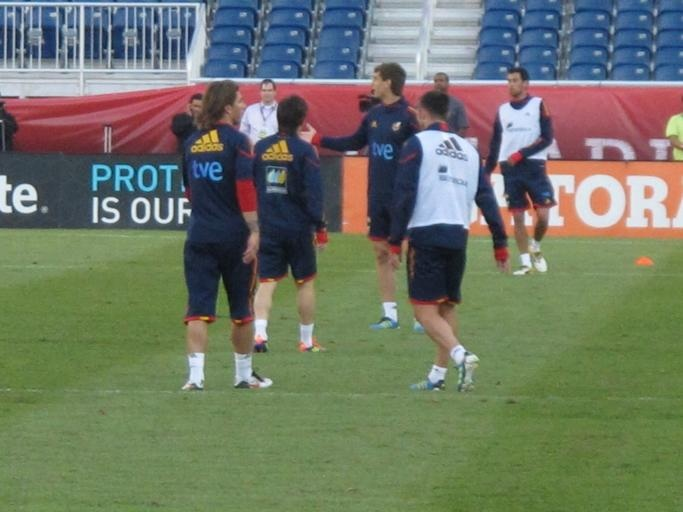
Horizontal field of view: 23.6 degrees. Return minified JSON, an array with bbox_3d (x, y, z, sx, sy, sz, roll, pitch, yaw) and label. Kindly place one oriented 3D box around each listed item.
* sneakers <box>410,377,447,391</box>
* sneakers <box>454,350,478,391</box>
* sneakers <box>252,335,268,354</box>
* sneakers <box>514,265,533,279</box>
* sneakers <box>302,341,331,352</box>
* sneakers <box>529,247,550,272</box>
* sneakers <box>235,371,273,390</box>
[{"bbox_3d":[0.896,1.318,17.021,0.367,0.144,0.130,2,-1,7],"label":"sneakers"},{"bbox_3d":[1.292,1.180,16.849,0.178,0.441,0.213,-6,27,-38],"label":"sneakers"},{"bbox_3d":[-0.891,0.953,18.062,0.125,0.184,0.069,0,4,-8],"label":"sneakers"},{"bbox_3d":[2.387,0.182,21.661,0.235,0.100,0.142,1,4,27],"label":"sneakers"},{"bbox_3d":[-0.285,0.994,18.176,0.306,0.117,0.098,-1,3,-18],"label":"sneakers"},{"bbox_3d":[2.620,0.045,21.848,0.191,0.354,0.100,-10,1,9],"label":"sneakers"},{"bbox_3d":[-0.896,1.291,17.066,0.432,0.177,0.153,-2,2,-12],"label":"sneakers"}]
